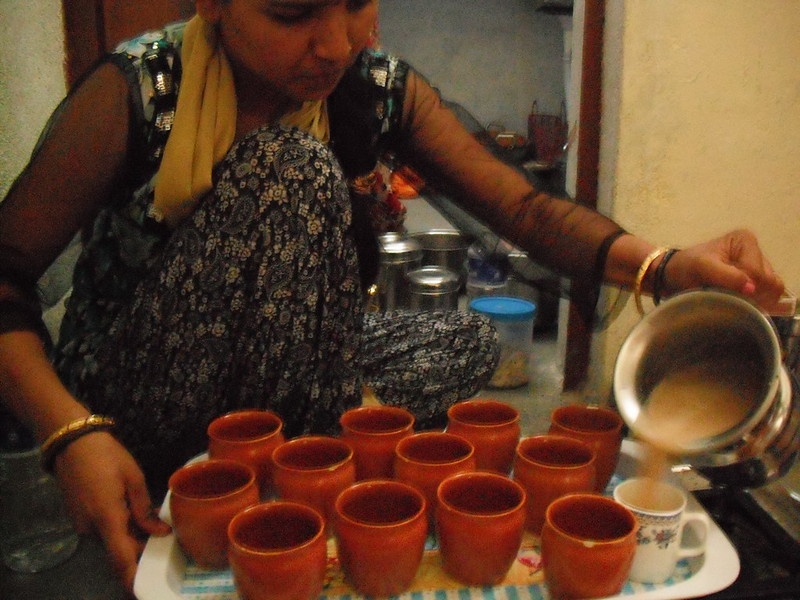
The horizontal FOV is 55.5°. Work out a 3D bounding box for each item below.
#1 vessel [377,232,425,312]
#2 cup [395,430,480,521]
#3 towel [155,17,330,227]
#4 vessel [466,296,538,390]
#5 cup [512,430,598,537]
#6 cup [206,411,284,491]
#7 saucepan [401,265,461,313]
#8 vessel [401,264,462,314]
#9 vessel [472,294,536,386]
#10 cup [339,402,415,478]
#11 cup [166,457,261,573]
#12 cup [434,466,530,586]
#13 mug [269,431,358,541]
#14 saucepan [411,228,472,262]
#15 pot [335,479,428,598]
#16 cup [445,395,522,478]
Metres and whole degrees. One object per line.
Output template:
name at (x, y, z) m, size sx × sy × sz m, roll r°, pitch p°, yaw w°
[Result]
vessel at (0.002, -0.095, 2.742) m, size 0.225 × 0.245 × 0.228 m, roll 1°, pitch 12°, yaw 4°
cup at (0.078, 0.346, 1.521) m, size 0.150 × 0.151 × 0.151 m, roll 1°, pitch -1°, yaw 0°
towel at (-0.401, -0.371, 1.718) m, size 0.291 × 0.396 × 0.180 m, roll 6°, pitch -9°, yaw -10°
vessel at (0.344, 0.135, 2.612) m, size 0.272 × 0.298 × 0.272 m, roll -4°, pitch 15°, yaw -8°
cup at (0.300, 0.351, 1.505) m, size 0.175 × 0.166 × 0.176 m, roll 0°, pitch 4°, yaw 0°
cup at (-0.324, 0.303, 1.587) m, size 0.147 × 0.120 × 0.163 m, roll 0°, pitch 5°, yaw -1°
saucepan at (0.108, -0.029, 2.673) m, size 0.214 × 0.141 × 0.220 m, roll 0°, pitch 0°, yaw 11°
vessel at (0.115, -0.017, 2.637) m, size 0.165 × 0.107 × 0.163 m, roll -1°, pitch 1°, yaw -26°
vessel at (0.350, 0.134, 2.609) m, size 0.263 × 0.287 × 0.262 m, roll -5°, pitch 16°, yaw -11°
cup at (-0.055, 0.345, 1.645) m, size 0.138 × 0.146 × 0.140 m, roll 3°, pitch 2°, yaw 0°
cup at (-0.330, 0.398, 1.489) m, size 0.189 × 0.192 × 0.183 m, roll 2°, pitch 10°, yaw 0°
cup at (0.142, 0.404, 1.392) m, size 0.164 × 0.172 × 0.184 m, roll 1°, pitch 3°, yaw -2°
mug at (-0.157, 0.364, 1.519) m, size 0.171 × 0.176 × 0.170 m, roll 0°, pitch 6°, yaw 1°
saucepan at (0.163, -0.237, 3.000) m, size 0.151 × 0.152 × 0.159 m, roll 0°, pitch 10°, yaw 1°
pot at (-0.037, 0.417, 1.372) m, size 0.168 × 0.166 × 0.185 m, roll 0°, pitch 0°, yaw -3°
cup at (0.166, 0.279, 1.618) m, size 0.153 × 0.167 × 0.153 m, roll 0°, pitch 5°, yaw 0°
